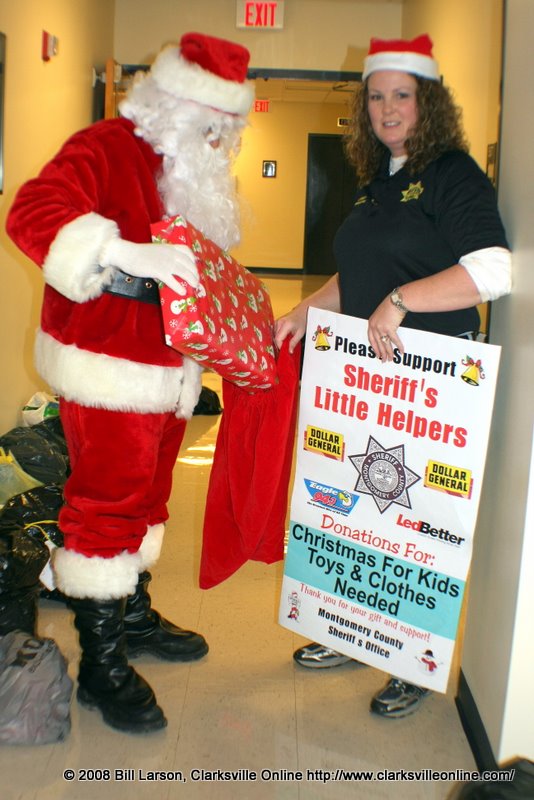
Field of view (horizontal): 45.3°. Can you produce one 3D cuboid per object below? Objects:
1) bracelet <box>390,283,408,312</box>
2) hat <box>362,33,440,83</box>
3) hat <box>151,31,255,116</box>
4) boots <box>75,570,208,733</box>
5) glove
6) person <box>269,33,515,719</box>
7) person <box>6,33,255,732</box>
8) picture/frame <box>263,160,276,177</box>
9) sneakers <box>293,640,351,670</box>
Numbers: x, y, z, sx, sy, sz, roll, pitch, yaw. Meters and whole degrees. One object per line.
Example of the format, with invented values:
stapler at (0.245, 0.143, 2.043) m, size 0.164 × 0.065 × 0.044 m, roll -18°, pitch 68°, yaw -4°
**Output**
bracelet at (0.274, -0.213, 1.340) m, size 0.042 × 0.049 × 0.021 m, roll 11°, pitch 13°, yaw 39°
hat at (0.320, -0.830, 1.522) m, size 0.143 × 0.088 × 0.143 m, roll 3°, pitch 13°, yaw 7°
hat at (-0.135, -0.733, 1.419) m, size 0.241 × 0.176 × 0.151 m, roll 0°, pitch 10°, yaw -14°
boots at (-0.252, 0.664, 1.682) m, size 0.291 × 0.407 × 0.436 m, roll 3°, pitch 19°, yaw 9°
glove at (-0.227, -0.267, 1.224) m, size 0.162 × 0.044 × 0.111 m, roll 13°, pitch 51°, yaw 6°
person at (0.277, -0.041, 1.590) m, size 0.393 × 1.661 × 0.646 m, roll -2°, pitch 11°, yaw -27°
person at (-0.308, -0.035, 1.520) m, size 0.472 × 1.611 × 0.565 m, roll 3°, pitch 10°, yaw 4°
picture/frame at (0.040, -4.343, 11.866) m, size 0.249 × 0.278 × 0.028 m, roll 13°, pitch -3°, yaw -3°
sneakers at (0.148, 0.720, 1.827) m, size 0.175 × 0.073 × 0.061 m, roll 6°, pitch 3°, yaw -9°
